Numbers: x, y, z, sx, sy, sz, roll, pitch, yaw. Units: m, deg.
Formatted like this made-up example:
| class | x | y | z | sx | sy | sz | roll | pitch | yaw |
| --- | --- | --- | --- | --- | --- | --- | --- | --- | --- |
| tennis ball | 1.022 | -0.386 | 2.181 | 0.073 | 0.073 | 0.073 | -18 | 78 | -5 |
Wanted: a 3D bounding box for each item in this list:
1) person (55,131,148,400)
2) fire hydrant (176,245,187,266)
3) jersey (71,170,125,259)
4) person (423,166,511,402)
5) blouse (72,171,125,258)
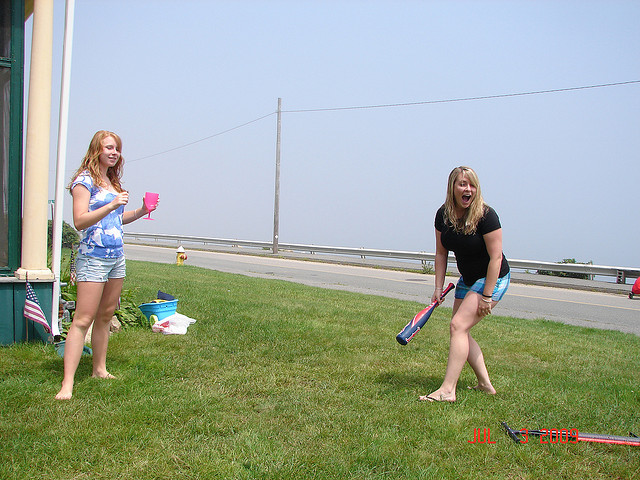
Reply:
| class | x | y | z | sx | sy | sz | roll | pitch | yaw |
| --- | --- | --- | --- | --- | --- | --- | --- | --- | --- |
| person | -2.271 | 0.188 | 5.488 | 0.678 | 2.613 | 0.937 | 1 | 5 | -20 |
| fire hydrant | -5.981 | 0.687 | 23.155 | 0.642 | 1.124 | 0.446 | 1 | -4 | -16 |
| jersey | -2.194 | -0.265 | 5.301 | 0.395 | 0.878 | 0.421 | 9 | 10 | 42 |
| person | 1.575 | 0.462 | 5.764 | 0.822 | 2.476 | 0.719 | 5 | 5 | 24 |
| blouse | -2.198 | -0.258 | 5.307 | 0.381 | 0.856 | 0.409 | 9 | 10 | 42 |
